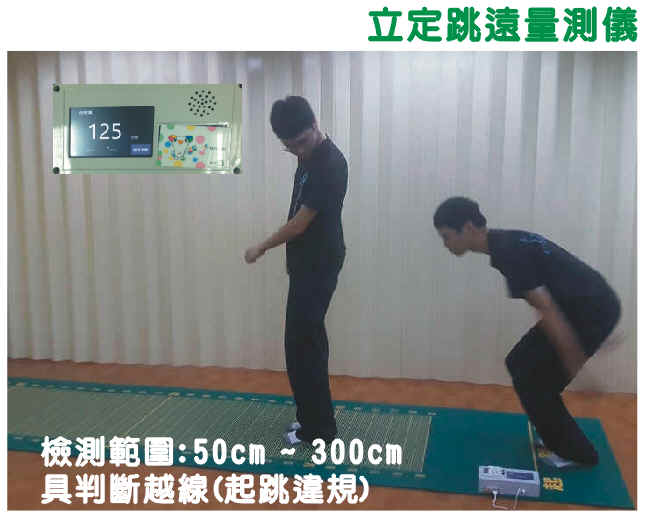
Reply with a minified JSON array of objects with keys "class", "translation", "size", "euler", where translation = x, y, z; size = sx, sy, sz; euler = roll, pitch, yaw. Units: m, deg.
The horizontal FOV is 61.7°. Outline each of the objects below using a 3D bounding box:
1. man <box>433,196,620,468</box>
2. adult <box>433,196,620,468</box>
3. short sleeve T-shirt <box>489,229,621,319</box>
[{"class":"man","translation":[0.996,0.308,2.968],"size":[0.981,1.611,0.747],"euler":[-3,2,26]},{"class":"adult","translation":[0.907,0.320,2.385],"size":[0.732,1.183,0.546],"euler":[-5,4,14]},{"class":"short sleeve T-shirt","translation":[0.929,0.080,2.248],"size":[0.465,0.172,0.325],"euler":[27,52,-3]}]
